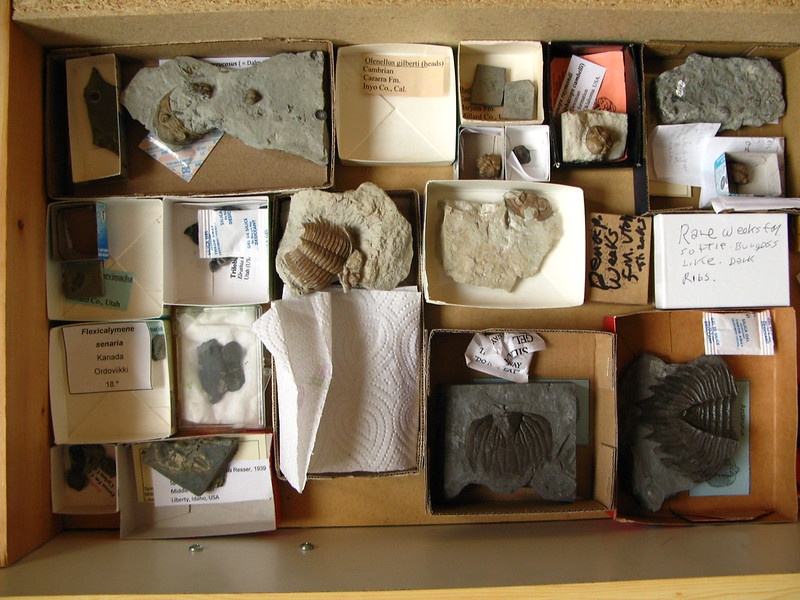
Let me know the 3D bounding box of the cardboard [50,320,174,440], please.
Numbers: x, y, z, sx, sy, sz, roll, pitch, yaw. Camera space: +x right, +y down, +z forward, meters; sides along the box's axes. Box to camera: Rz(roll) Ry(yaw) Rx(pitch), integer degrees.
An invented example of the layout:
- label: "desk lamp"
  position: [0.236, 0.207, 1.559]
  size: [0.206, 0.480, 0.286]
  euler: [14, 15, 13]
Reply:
- label: "cardboard"
  position: [-0.853, 0.245, 2.381]
  size: [0.395, 0.391, 0.082]
  euler: [5, 2, 5]

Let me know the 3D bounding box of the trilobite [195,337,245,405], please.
- label: "trilobite"
  position: [-0.539, 0.208, 2.313]
  size: [0.180, 0.179, 0.043]
  euler: [2, 1, -4]

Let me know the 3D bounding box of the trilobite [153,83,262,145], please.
- label: "trilobite"
  position: [-0.590, -0.568, 2.407]
  size: [0.290, 0.177, 0.069]
  euler: [-24, -1, -1]

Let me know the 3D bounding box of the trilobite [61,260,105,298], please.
- label: "trilobite"
  position: [-0.953, -0.062, 2.329]
  size: [0.115, 0.115, 0.031]
  euler: [-1, 2, 0]

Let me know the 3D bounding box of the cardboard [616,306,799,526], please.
- label: "cardboard"
  position: [1.052, 0.343, 2.591]
  size: [0.649, 0.626, 0.161]
  euler: [-1, 0, -7]

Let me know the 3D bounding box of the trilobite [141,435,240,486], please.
- label: "trilobite"
  position: [-0.631, 0.500, 2.330]
  size: [0.295, 0.165, 0.050]
  euler: [-2, 9, 0]

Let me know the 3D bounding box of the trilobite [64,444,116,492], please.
- label: "trilobite"
  position: [-0.941, 0.509, 2.350]
  size: [0.143, 0.145, 0.039]
  euler: [6, 0, -15]

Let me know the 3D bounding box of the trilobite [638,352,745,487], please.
- label: "trilobite"
  position: [0.899, 0.369, 2.400]
  size: [0.322, 0.040, 0.457]
  euler: [-15, 36, 31]

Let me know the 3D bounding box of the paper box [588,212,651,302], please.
- label: "paper box"
  position: [0.668, -0.119, 2.264]
  size: [0.254, 0.247, 0.060]
  euler: [0, 0, 2]

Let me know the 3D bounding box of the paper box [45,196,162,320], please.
- label: "paper box"
  position: [-0.872, -0.095, 2.393]
  size: [0.337, 0.371, 0.088]
  euler: [-1, 6, -12]

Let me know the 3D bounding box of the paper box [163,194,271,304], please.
- label: "paper box"
  position: [-0.549, -0.145, 2.367]
  size: [0.305, 0.338, 0.088]
  euler: [0, 9, 1]

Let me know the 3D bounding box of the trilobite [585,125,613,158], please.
- label: "trilobite"
  position: [0.610, -0.476, 2.351]
  size: [0.077, 0.094, 0.033]
  euler: [-7, 9, 3]
